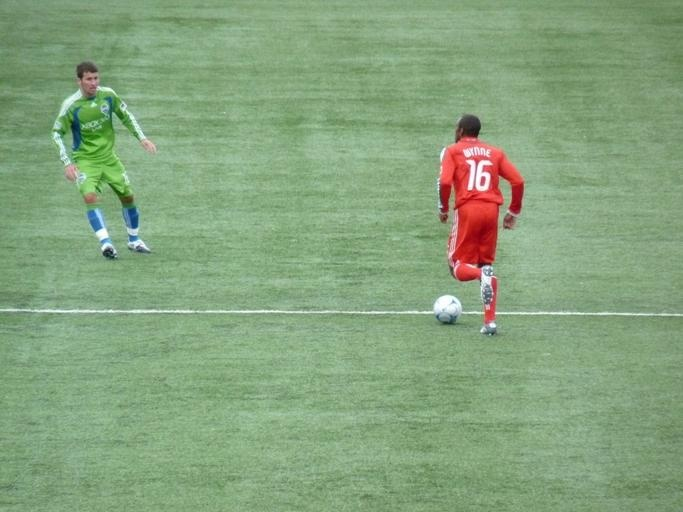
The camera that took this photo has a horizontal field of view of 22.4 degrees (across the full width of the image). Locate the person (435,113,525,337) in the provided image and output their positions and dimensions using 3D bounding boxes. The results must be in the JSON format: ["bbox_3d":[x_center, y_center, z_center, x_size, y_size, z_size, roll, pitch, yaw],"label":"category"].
[{"bbox_3d":[1.669,-0.409,20.799,1.004,2.462,1.279,1,18,4],"label":"person"}]

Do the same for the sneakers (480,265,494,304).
[{"bbox_3d":[1.724,0.336,20.488,0.171,0.421,0.220,-2,13,2],"label":"sneakers"}]

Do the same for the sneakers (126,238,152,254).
[{"bbox_3d":[-2.696,-0.113,23.042,0.396,0.151,0.136,3,16,25],"label":"sneakers"}]

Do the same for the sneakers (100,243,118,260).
[{"bbox_3d":[-3.076,-0.046,22.805,0.126,0.133,0.282,-35,-3,-15],"label":"sneakers"}]

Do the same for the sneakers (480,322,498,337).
[{"bbox_3d":[1.735,0.858,20.526,0.195,0.163,0.110,6,18,19],"label":"sneakers"}]

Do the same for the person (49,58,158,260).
[{"bbox_3d":[-3.184,-1.268,22.760,1.235,2.552,0.859,-7,19,-20],"label":"person"}]
